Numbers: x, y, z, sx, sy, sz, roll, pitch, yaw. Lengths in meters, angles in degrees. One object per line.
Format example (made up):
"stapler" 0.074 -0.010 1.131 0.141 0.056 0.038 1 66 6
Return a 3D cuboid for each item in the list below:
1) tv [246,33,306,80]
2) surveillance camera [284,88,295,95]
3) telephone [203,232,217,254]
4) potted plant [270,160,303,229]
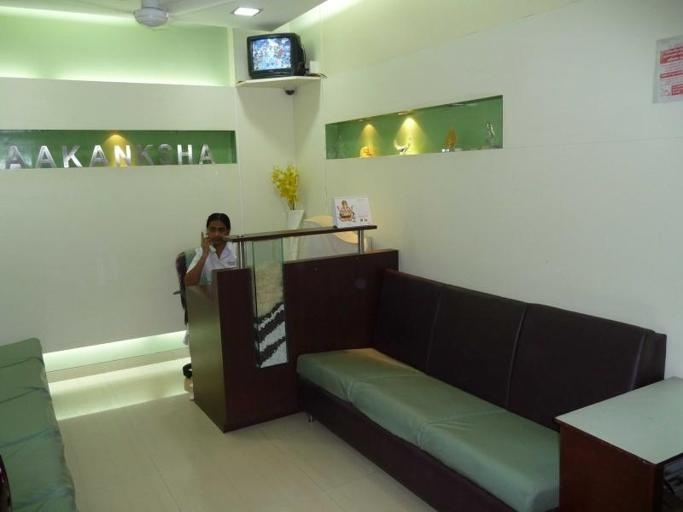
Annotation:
"tv" -0.695 -2.104 5.402 0.606 0.476 0.447 2 8 20
"surveillance camera" -0.610 -1.921 5.960 0.124 0.066 0.043 -2 13 2
"telephone" -1.235 -0.123 4.716 0.067 0.200 0.142 7 20 -13
"potted plant" -0.583 -0.685 5.916 0.315 0.715 0.458 -9 15 -27
